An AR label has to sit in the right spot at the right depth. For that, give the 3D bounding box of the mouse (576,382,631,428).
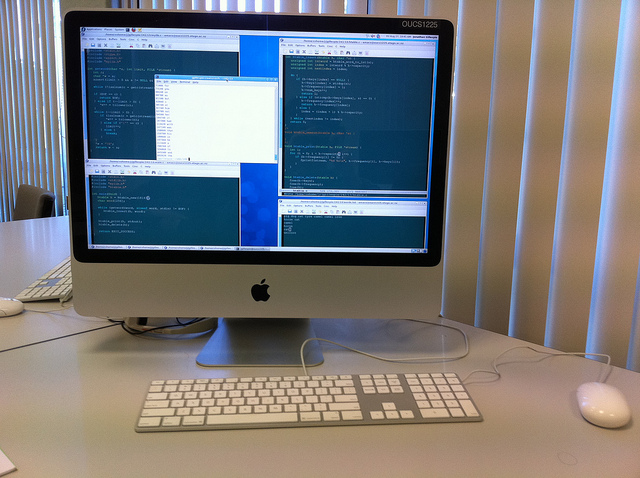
[{"bbox_3d":[0.592,0.346,1.203,0.099,0.094,0.068,1,-82,0],"label":"mouse"}]

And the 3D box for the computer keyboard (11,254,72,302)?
[{"bbox_3d":[-0.763,0.121,1.671,0.155,0.281,0.079,-4,-82,0],"label":"computer keyboard"}]

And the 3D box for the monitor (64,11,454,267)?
[{"bbox_3d":[-0.136,-0.219,1.295,0.865,0.035,0.560,1,-83,-1],"label":"monitor"}]
